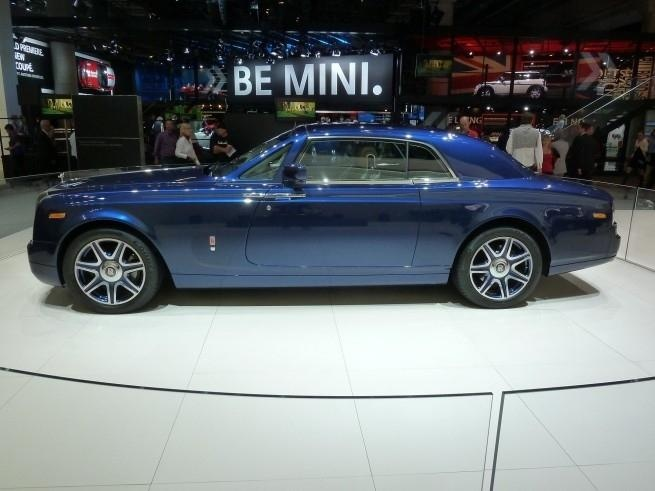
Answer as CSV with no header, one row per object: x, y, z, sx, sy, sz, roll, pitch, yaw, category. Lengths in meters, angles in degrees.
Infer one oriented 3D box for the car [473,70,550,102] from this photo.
8.954,-7.946,19.990,3.283,0.961,1.397,3,25,3,car
